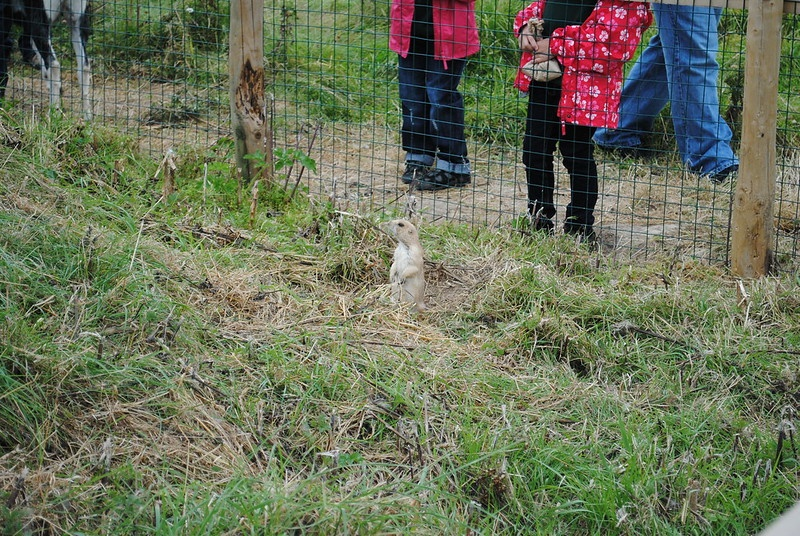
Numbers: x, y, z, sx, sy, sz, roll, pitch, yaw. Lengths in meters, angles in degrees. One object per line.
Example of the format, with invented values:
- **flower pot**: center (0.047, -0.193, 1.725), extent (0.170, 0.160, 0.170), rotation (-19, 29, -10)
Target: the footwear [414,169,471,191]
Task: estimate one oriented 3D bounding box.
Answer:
- **footwear**: center (0.465, -0.892, 8.479), extent (0.601, 0.299, 0.237), rotation (-2, 17, -24)
